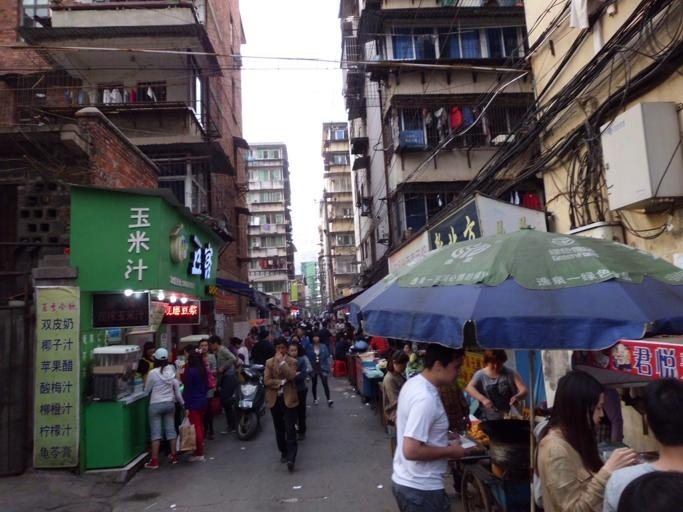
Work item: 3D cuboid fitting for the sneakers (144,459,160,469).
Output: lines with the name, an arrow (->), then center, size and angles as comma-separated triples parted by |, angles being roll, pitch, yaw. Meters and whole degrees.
sneakers -> -3.483, 3.786, 12.276 | 0.284, 0.212, 0.145 | 3, -1, 22

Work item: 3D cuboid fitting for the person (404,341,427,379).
person -> 1.758, 2.345, 14.872 | 0.304, 0.232, 0.778 | 25, -29, 26

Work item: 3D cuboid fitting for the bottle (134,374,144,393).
bottle -> -3.901, 2.486, 12.827 | 0.185, 0.324, 0.220 | -4, -5, 9

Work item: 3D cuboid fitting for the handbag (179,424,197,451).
handbag -> -2.886, 3.364, 12.489 | 0.310, 0.467, 0.411 | -1, 1, -18

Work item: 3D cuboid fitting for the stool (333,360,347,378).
stool -> -0.027, 3.802, 22.622 | 0.450, 0.697, 0.500 | 1, -12, -21

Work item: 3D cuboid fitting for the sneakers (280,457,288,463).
sneakers -> -1.032, 3.661, 11.979 | 0.134, 0.157, 0.089 | -2, -1, 8

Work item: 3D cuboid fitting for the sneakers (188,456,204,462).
sneakers -> -2.705, 3.783, 12.470 | 0.229, 0.115, 0.114 | 7, -13, -3

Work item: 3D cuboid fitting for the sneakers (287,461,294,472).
sneakers -> -0.880, 3.667, 11.651 | 0.114, 0.145, 0.151 | 2, -27, -5

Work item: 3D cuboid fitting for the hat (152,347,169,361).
hat -> -3.427, 1.853, 12.690 | 0.255, 0.228, 0.364 | 2, -3, -29
